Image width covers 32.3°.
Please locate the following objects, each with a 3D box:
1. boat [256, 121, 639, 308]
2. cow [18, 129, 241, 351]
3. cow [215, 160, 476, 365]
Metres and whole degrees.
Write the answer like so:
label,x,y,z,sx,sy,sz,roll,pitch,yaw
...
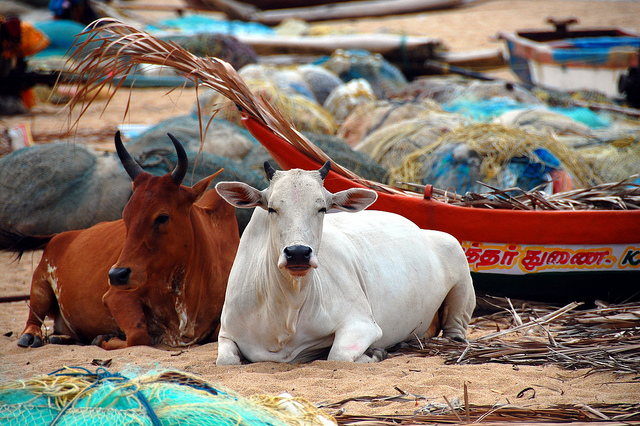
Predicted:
label,x,y,z,sx,sy,sz,roll,pitch,yaw
boat,1.544,-0.070,17.047,7.581,2.024,2.117,14,-6,8
cow,-2.665,0.386,15.379,2.568,2.993,1.582,2,12,11
cow,0.301,0.708,15.968,3.502,2.684,7.224,2,0,2
